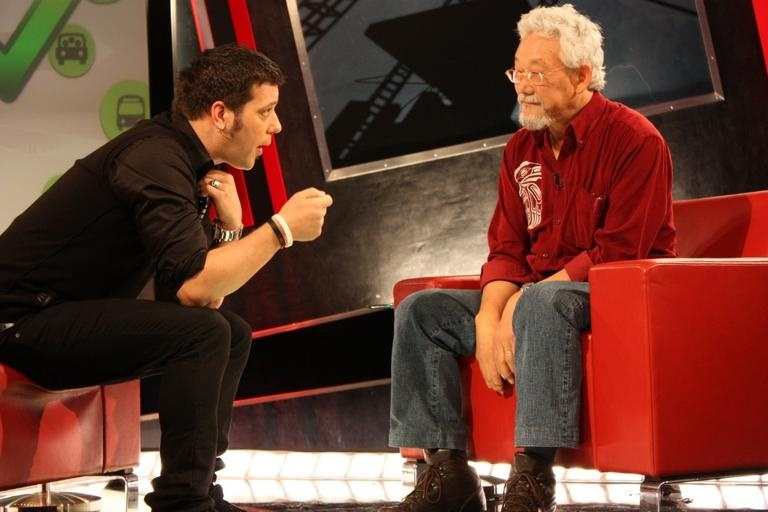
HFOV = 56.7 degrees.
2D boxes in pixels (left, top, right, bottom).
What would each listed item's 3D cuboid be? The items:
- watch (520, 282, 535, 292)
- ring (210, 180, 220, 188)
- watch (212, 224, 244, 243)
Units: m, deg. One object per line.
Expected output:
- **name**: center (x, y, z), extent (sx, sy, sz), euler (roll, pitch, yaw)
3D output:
- **watch**: center (0.495, 0.106, 2.480), extent (0.047, 0.018, 0.034), euler (-19, 5, -3)
- **ring**: center (-0.597, -0.255, 2.510), extent (0.028, 0.020, 0.009), euler (9, -4, -44)
- **watch**: center (-0.587, -0.079, 2.680), extent (0.098, 0.057, 0.101), euler (5, 3, 38)
